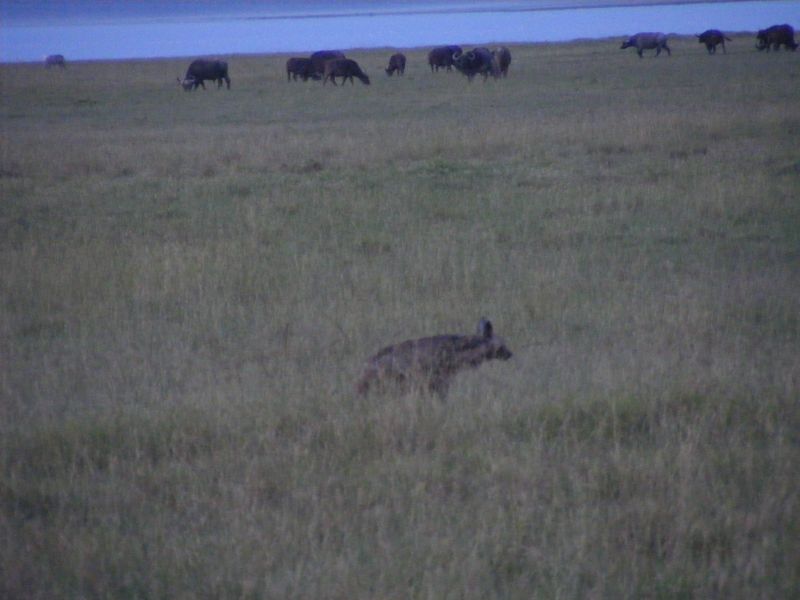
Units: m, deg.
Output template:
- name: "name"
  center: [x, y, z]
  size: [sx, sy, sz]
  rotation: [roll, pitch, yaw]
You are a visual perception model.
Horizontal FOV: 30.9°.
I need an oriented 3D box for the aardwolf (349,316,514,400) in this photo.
- name: "aardwolf"
  center: [0.339, 0.647, 16.085]
  size: [1.653, 0.792, 0.281]
  rotation: [-3, 14, 0]
